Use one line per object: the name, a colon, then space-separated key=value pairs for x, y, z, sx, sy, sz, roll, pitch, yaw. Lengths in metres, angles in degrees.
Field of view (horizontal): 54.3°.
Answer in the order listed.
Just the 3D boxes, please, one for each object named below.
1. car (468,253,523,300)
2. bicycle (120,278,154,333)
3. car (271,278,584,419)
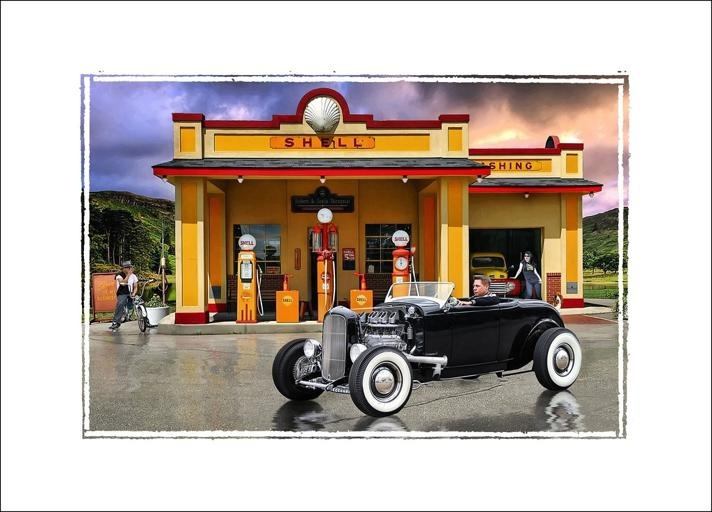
car: x=5.390 y=0.612 z=25.897 sx=1.776 sy=1.624 sz=3.094 roll=0 pitch=-2 yaw=1
bicycle: x=-6.924 y=1.718 z=22.382 sx=1.062 sy=1.168 sz=1.739 roll=1 pitch=0 yaw=-32
car: x=1.559 y=1.330 z=13.388 sx=5.402 sy=2.267 sz=2.667 roll=0 pitch=-5 yaw=-31
